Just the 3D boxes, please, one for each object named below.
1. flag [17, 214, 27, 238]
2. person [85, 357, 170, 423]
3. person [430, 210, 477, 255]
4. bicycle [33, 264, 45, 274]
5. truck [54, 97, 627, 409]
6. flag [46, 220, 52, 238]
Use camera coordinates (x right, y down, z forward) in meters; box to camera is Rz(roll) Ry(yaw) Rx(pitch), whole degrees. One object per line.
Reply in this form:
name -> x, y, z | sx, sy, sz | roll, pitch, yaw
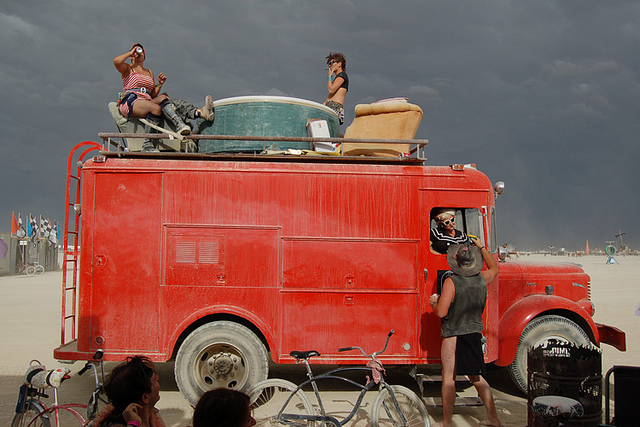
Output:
flag -> -18.414, 0.850, 43.629 | 0.442, 1.496, 4.316 | 0, -5, -22
person -> -2.652, 2.372, 10.310 | 1.221, 0.545, 1.230 | 0, -1, 42
person -> 2.385, 0.363, 12.952 | 0.737, 0.967, 0.307 | -1, -8, -16
bicycle -> -17.648, 3.545, 44.430 | 0.858, 0.541, 0.437 | 13, -5, -14
truck -> 0.313, 0.685, 14.735 | 10.348, 5.759, 4.044 | 1, 1, -5
flag -> -18.586, 1.158, 48.459 | 0.319, 1.045, 2.263 | 0, -4, -20
